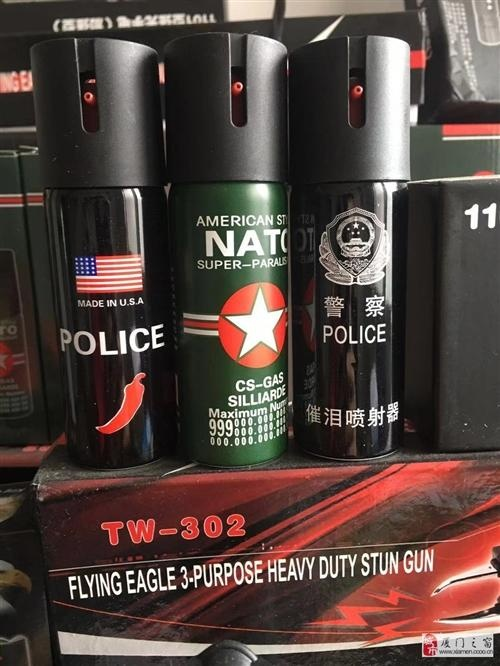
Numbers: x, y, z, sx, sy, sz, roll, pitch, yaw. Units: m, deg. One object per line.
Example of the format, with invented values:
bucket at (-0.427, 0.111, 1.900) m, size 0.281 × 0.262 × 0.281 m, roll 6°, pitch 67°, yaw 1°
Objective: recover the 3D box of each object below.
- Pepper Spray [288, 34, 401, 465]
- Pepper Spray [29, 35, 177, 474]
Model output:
Pepper Spray at (0.075, -0.059, 0.512) m, size 0.099 × 0.316 × 0.048 m, roll -1°, pitch 10°, yaw 14°
Pepper Spray at (-0.104, -0.053, 0.499) m, size 0.089 × 0.318 × 0.033 m, roll -5°, pitch 9°, yaw -7°
